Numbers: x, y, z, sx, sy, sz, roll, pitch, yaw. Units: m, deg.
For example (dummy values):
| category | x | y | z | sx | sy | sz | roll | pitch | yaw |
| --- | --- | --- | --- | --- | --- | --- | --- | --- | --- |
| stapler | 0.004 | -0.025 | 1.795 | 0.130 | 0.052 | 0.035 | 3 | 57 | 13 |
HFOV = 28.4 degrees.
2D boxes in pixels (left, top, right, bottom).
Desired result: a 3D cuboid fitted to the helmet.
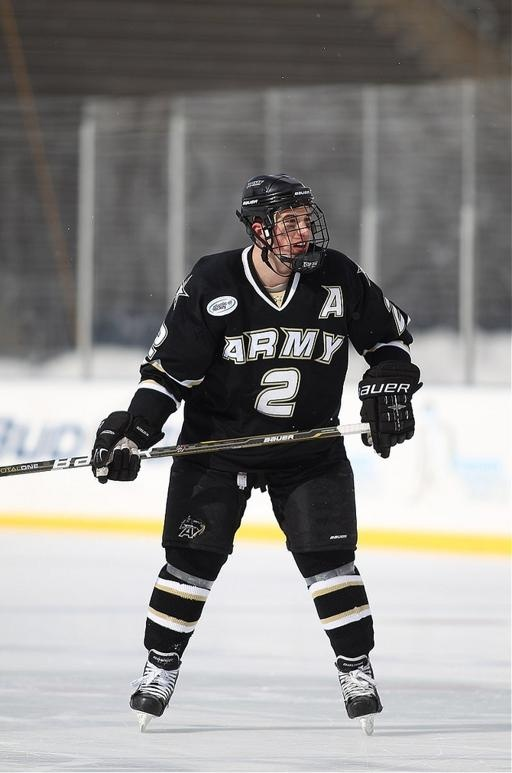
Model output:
| category | x | y | z | sx | sy | sz | roll | pitch | yaw |
| --- | --- | --- | --- | --- | --- | --- | --- | --- | --- |
| helmet | 0.055 | -0.378 | 2.332 | 0.229 | 0.195 | 0.164 | 14 | 20 | 40 |

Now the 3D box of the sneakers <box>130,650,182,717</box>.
| category | x | y | z | sx | sy | sz | roll | pitch | yaw |
| --- | --- | --- | --- | --- | --- | --- | --- | --- | --- |
| sneakers | -0.218 | 0.665 | 2.270 | 0.065 | 0.070 | 0.187 | 16 | 16 | 0 |

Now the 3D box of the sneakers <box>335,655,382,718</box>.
| category | x | y | z | sx | sy | sz | roll | pitch | yaw |
| --- | --- | --- | --- | --- | --- | --- | --- | --- | --- |
| sneakers | 0.214 | 0.660 | 2.207 | 0.063 | 0.071 | 0.172 | -15 | -8 | -3 |

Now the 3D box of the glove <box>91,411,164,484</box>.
| category | x | y | z | sx | sy | sz | roll | pitch | yaw |
| --- | --- | --- | --- | --- | --- | --- | --- | --- | --- |
| glove | -0.293 | 0.141 | 2.216 | 0.072 | 0.148 | 0.149 | -2 | 44 | 10 |

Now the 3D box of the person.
| category | x | y | z | sx | sy | sz | roll | pitch | yaw |
| --- | --- | --- | --- | --- | --- | --- | --- | --- | --- |
| person | 0.004 | 0.147 | 2.322 | 0.709 | 1.244 | 0.519 | 7 | 12 | 2 |
